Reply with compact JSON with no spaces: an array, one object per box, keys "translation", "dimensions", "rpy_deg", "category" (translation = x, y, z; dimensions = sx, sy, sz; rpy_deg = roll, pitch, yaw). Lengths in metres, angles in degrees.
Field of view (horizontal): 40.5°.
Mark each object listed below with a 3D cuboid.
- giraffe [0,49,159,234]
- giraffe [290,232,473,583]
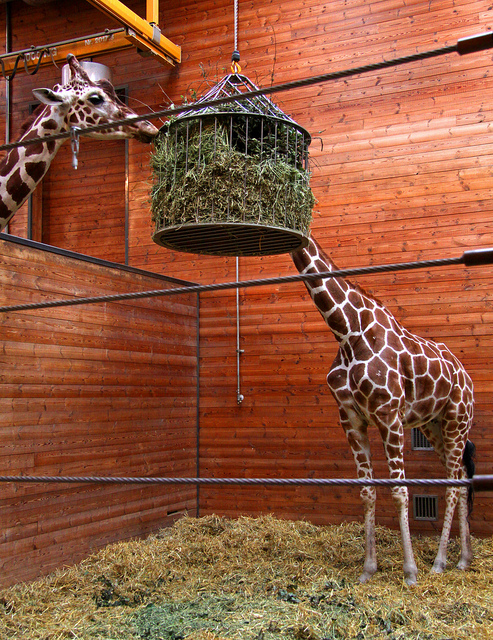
[{"translation":[-0.969,-0.983,3.799],"dimensions":[0.811,0.966,0.467],"rpy_deg":[0,-1,-18],"category":"giraffe"},{"translation":[0.835,0.440,3.716],"dimensions":[0.942,1.809,0.649],"rpy_deg":[0,-1,-40],"category":"giraffe"}]
